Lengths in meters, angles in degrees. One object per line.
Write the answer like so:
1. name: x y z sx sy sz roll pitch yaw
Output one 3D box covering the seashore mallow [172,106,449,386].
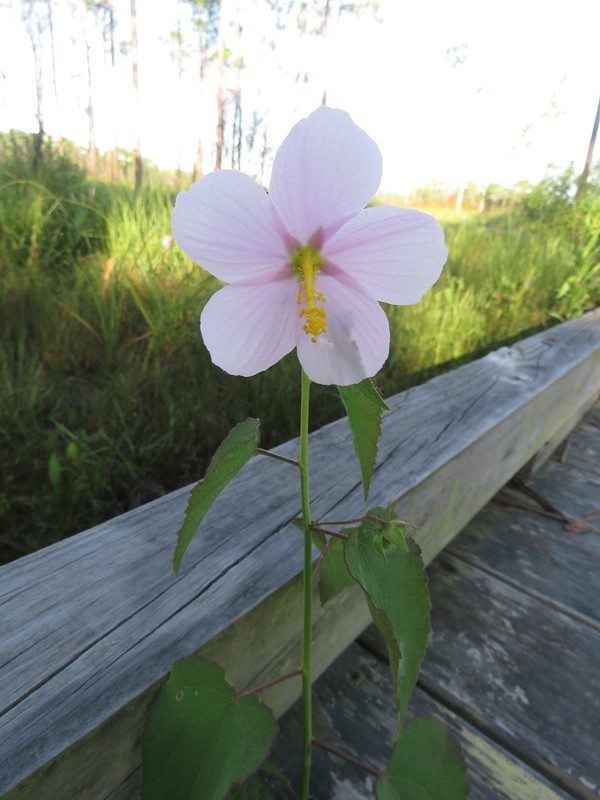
1. seashore mallow: 0.011 -0.133 0.501 0.250 0.252 0.100 -5 23 -26
